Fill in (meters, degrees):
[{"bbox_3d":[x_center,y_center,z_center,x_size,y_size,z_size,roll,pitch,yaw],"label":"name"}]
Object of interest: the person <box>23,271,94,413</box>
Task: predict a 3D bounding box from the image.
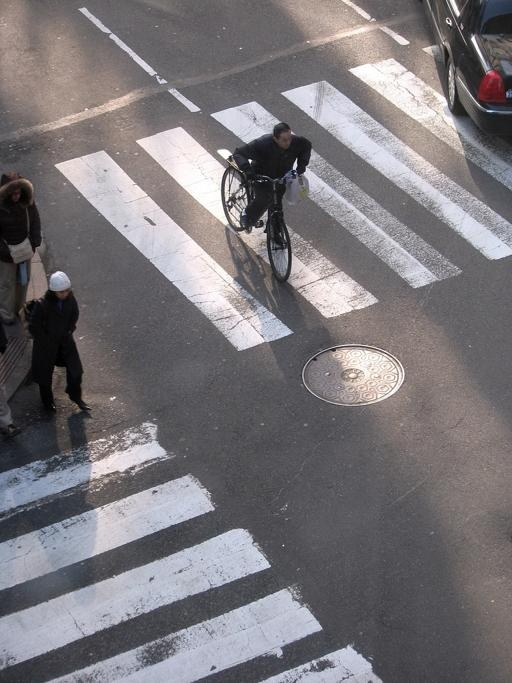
[{"bbox_3d":[-1.897,0.042,8.539,0.541,1.503,0.441,-2,41,-15],"label":"person"}]
